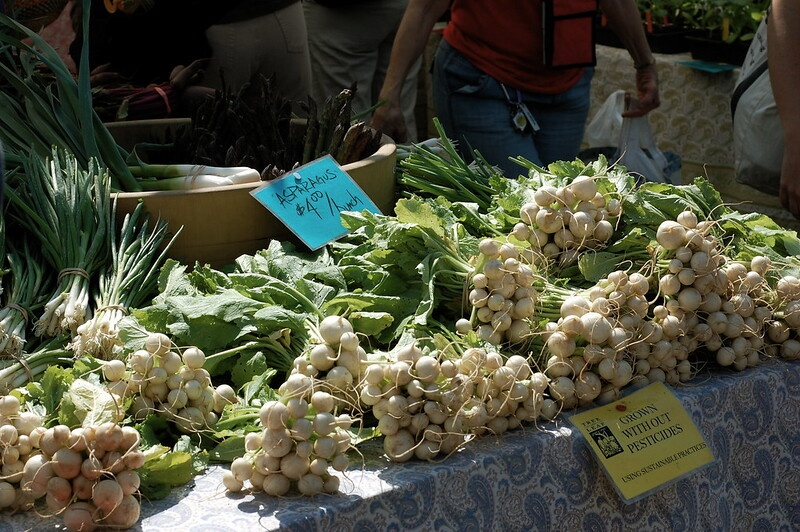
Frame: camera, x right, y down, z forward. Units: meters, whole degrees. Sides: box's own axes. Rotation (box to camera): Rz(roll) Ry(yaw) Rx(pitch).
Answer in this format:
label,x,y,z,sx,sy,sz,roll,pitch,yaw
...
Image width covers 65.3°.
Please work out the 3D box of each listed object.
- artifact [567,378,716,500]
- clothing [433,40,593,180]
label,x,y,z,sx,sy,sz,roll,pitch,yaw
artifact,0.631,0.453,1.627,0.291,0.069,0.284,-24,80,-20
clothing,0.491,-0.725,2.822,0.459,1.000,0.310,-21,39,-29
